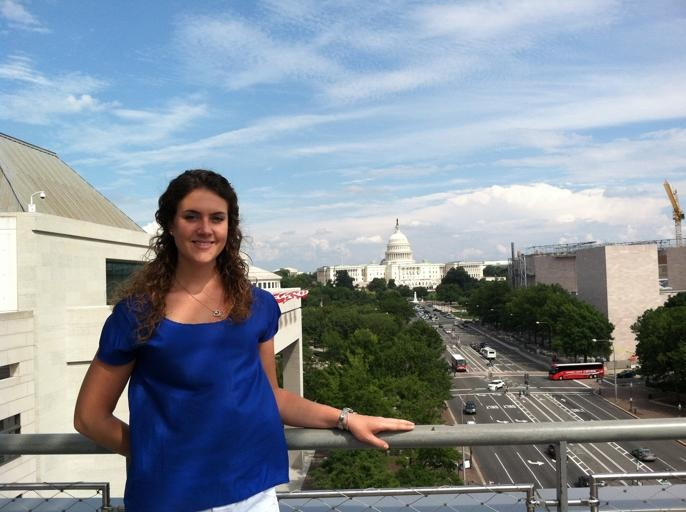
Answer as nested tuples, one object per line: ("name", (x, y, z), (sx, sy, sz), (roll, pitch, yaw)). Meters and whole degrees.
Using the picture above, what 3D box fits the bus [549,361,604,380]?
("bus", (17.829, 9.086, 51.467), (5.721, 1.392, 1.409), (1, -5, -2))

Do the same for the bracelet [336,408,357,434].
("bracelet", (0.034, 1.110, 4.444), (0.184, 0.160, 0.118), (6, -3, -38))

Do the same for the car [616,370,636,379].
("car", (22.202, 9.099, 50.888), (1.389, 0.796, 2.322), (-4, -1, 24))

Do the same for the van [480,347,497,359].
("van", (14.007, 9.363, 61.704), (1.210, 0.860, 1.814), (-1, 7, -9))

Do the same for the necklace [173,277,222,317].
("necklace", (-0.915, 0.270, 4.113), (0.146, 0.433, 0.067), (-40, -22, -32))
